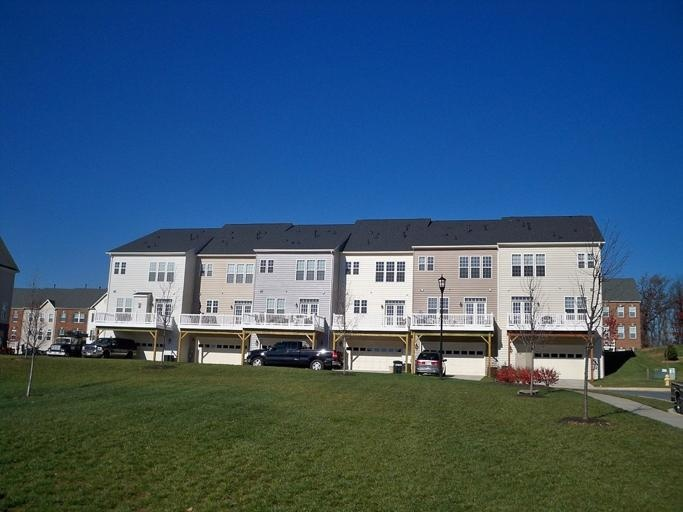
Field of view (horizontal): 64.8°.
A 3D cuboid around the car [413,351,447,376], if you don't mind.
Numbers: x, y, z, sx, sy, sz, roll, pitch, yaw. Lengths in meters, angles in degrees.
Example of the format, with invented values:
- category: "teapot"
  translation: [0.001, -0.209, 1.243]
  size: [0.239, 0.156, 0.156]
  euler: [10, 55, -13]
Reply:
- category: "car"
  translation: [5.641, 7.123, 35.287]
  size: [1.536, 1.449, 1.016]
  euler: [0, -3, 0]

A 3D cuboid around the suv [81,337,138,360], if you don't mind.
- category: "suv"
  translation: [-19.074, 7.560, 44.529]
  size: [1.894, 1.321, 3.539]
  euler: [-5, -15, 17]

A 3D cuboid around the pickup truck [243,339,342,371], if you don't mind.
- category: "pickup truck"
  translation: [-3.050, 7.148, 37.754]
  size: [5.607, 1.851, 2.605]
  euler: [0, -16, 14]
